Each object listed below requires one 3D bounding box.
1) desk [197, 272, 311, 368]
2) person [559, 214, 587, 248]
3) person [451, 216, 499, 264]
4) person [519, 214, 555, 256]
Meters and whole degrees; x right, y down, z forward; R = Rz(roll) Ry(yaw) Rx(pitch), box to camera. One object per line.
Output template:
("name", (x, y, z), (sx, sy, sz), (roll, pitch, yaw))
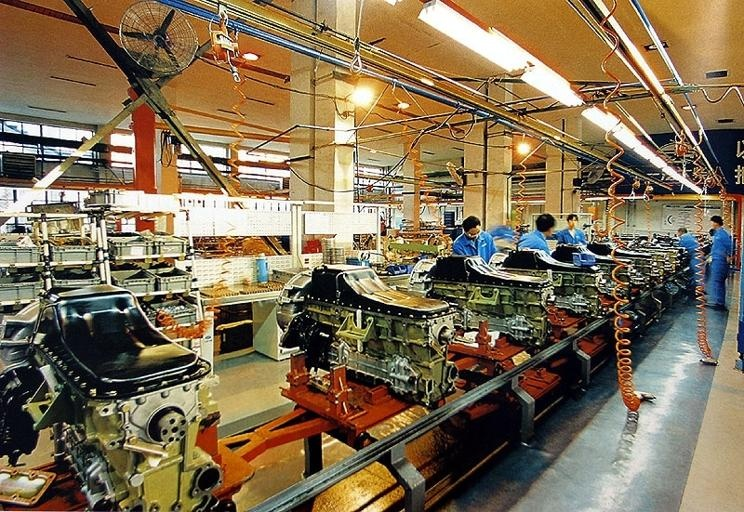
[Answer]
("desk", (-1.591, 0.865, 6.074), (0.879, 0.991, 1.638), (7, 8, 41))
("person", (4.267, -0.568, 9.740), (0.539, 0.606, 1.642), (-1, 3, 23))
("person", (1.498, -0.228, 6.765), (0.579, 0.691, 0.972), (-1, 3, 14))
("person", (2.667, -0.344, 7.340), (0.542, 0.681, 0.923), (-1, 3, 20))
